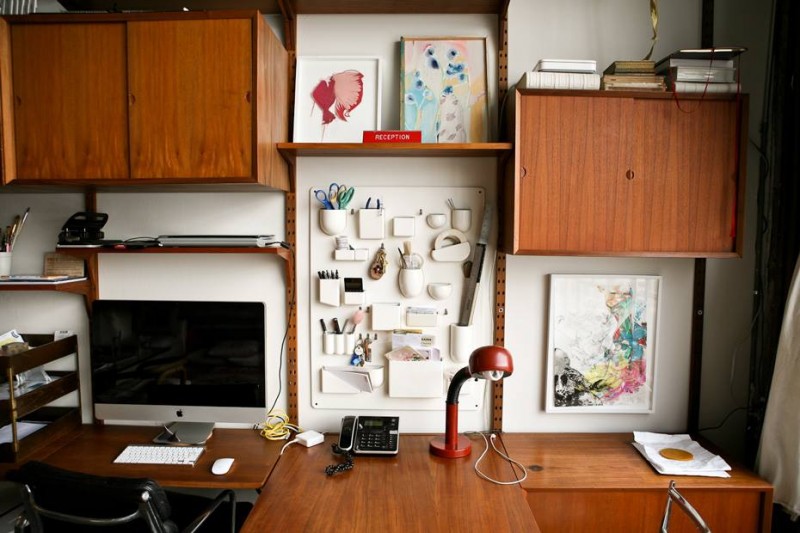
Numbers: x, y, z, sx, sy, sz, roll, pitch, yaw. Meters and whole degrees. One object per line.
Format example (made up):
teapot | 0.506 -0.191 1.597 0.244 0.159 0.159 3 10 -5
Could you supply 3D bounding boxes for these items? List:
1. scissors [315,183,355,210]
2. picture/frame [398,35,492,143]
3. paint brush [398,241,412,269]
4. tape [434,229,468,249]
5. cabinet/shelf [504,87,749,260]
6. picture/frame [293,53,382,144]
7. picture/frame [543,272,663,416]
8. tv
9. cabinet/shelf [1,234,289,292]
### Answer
scissors | -0.321 -0.329 3.116 0.143 0.141 0.057 -2 -1 -4
picture/frame | 0.218 -0.813 3.072 0.541 0.722 0.031 0 0 1
paint brush | 0.024 -0.055 3.117 0.066 0.119 0.026 1 9 5
tape | 0.241 -0.128 3.109 0.159 0.093 0.036 0 9 -2
cabinet/shelf | 1.012 -0.406 3.030 1.035 0.723 0.352 1 2 -1
picture/frame | -0.302 -0.770 3.081 0.473 0.464 0.020 0 -2 0
picture/frame | 0.968 0.343 3.155 0.657 0.847 0.034 2 0 -2
tv | -1.020 0.463 3.012 0.659 0.460 0.173 0 2 3
cabinet/shelf | -1.164 0.000 3.063 1.304 0.323 0.286 1 9 -2
